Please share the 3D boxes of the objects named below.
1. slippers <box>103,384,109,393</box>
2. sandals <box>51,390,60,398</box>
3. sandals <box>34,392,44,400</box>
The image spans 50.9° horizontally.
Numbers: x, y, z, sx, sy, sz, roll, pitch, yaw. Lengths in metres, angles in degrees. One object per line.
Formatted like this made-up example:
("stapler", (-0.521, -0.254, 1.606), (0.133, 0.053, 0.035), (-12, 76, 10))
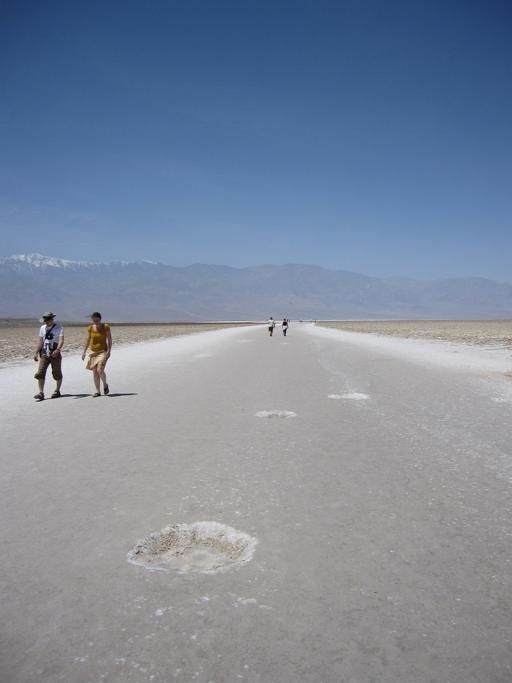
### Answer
("slippers", (-3.017, 0.951, 10.874), (0.068, 0.210, 0.074), (-3, -13, 4))
("sandals", (-3.935, 1.049, 10.622), (0.091, 0.134, 0.287), (0, -5, -4))
("sandals", (-4.087, 1.029, 10.163), (0.164, 0.153, 0.412), (-1, 1, -23))
